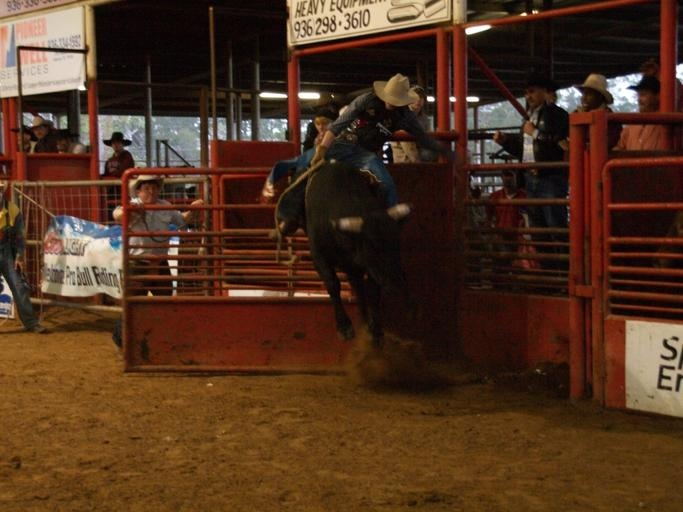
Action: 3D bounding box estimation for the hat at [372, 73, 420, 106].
[{"bbox_3d":[0.528,-1.614,7.910,0.427,0.315,0.396,-1,10,2],"label":"hat"}]

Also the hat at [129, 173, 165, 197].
[{"bbox_3d":[-2.370,-0.854,9.598,0.274,0.115,0.294,-11,-8,-24],"label":"hat"}]

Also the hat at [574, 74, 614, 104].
[{"bbox_3d":[2.832,-1.916,9.093,0.379,0.164,0.324,25,-9,-28],"label":"hat"}]

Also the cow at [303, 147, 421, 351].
[{"bbox_3d":[0.149,0.021,7.546,0.772,1.763,1.364,-4,10,-12],"label":"cow"}]

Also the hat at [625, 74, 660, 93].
[{"bbox_3d":[3.437,-1.948,9.176,0.273,0.148,0.170,-3,8,22],"label":"hat"}]
